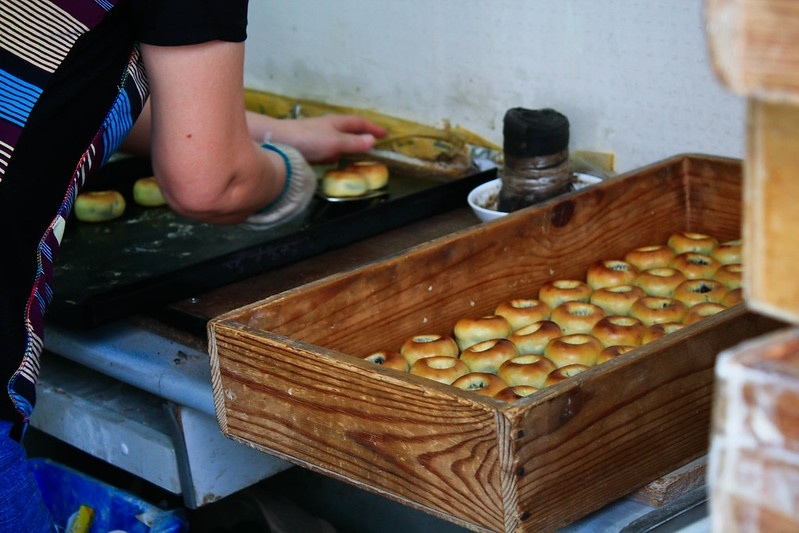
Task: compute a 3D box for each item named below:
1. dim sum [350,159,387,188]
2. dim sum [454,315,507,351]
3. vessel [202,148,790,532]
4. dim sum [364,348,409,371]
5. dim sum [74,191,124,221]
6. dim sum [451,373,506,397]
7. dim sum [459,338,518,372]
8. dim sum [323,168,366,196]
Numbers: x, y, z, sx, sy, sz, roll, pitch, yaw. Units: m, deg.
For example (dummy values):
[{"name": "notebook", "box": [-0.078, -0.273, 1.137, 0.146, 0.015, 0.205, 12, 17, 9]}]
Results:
[{"name": "dim sum", "box": [-0.068, -0.207, 1.481, 0.068, 0.038, 0.065, 3, 25, 2]}, {"name": "dim sum", "box": [0.119, 0.090, 0.970, 0.057, 0.034, 0.054, -14, 0, -14]}, {"name": "vessel", "box": [0.202, -0.023, 0.894, 0.712, 0.141, 0.419, -19, 23, -41]}, {"name": "dim sum", "box": [-0.019, 0.127, 0.901, 0.046, 0.017, 0.045, 9, 25, 19]}, {"name": "dim sum", "box": [-0.663, -0.139, 1.505, 0.075, 0.038, 0.074, -20, 17, -35]}, {"name": "dim sum", "box": [0.102, 0.145, 0.837, 0.048, 0.016, 0.046, -4, 7, -6]}, {"name": "dim sum", "box": [0.117, 0.120, 0.934, 0.071, 0.025, 0.071, 1, 13, 36]}, {"name": "dim sum", "box": [-0.122, -0.173, 1.446, 0.065, 0.034, 0.066, 5, 4, 33]}]
